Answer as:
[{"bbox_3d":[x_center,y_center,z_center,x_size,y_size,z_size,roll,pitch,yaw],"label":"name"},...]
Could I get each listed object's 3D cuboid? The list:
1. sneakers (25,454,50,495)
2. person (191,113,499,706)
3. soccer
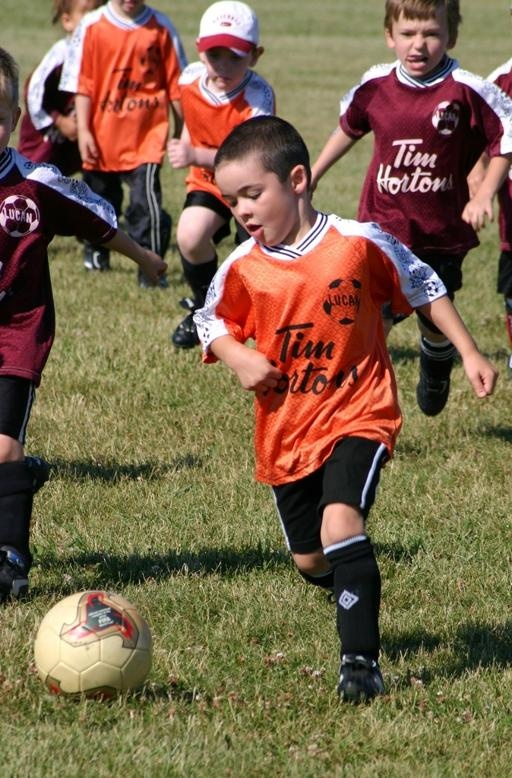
[{"bbox_3d":[-0.803,0.317,2.955,0.063,0.139,0.109,5,3,-15],"label":"sneakers"},{"bbox_3d":[0.281,0.009,2.428,0.612,1.608,0.977,-7,19,-29],"label":"person"},{"bbox_3d":[-0.419,0.719,2.218,0.300,0.275,0.289,-11,-1,16],"label":"soccer"}]
